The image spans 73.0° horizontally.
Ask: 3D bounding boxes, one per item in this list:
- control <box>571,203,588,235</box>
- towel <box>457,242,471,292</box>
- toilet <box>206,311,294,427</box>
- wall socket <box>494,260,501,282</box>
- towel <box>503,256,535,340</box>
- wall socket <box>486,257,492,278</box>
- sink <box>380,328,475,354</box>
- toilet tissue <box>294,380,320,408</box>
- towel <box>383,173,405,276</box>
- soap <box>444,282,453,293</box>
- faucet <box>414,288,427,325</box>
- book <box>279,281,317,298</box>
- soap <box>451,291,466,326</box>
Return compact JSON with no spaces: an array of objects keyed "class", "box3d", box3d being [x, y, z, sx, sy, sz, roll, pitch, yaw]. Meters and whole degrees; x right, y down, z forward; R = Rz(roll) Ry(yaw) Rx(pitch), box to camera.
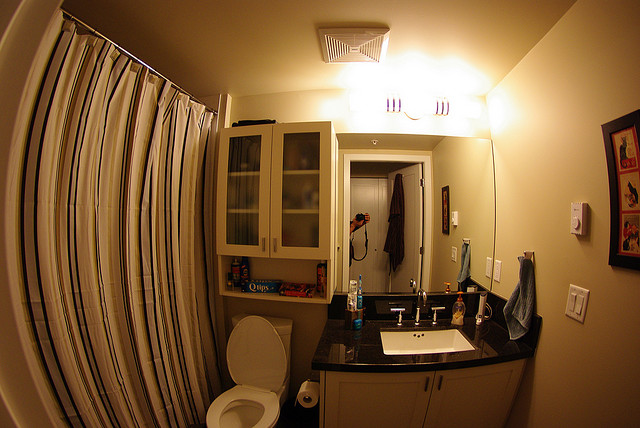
[{"class":"control","box3d":[1.573,0.025,2.622,0.085,0.188,0.029,0,0,32]},{"class":"towel","box3d":[1.086,0.387,3.245,0.097,0.357,0.030,0,0,-8]},{"class":"toilet","box3d":[-0.442,1.109,3.251,0.481,0.848,0.735,1,0,12]},{"class":"wall socket","box3d":[1.291,0.408,3.144,0.019,0.147,0.050,1,0,-20]},{"class":"towel","box3d":[1.338,0.562,2.905,0.186,0.557,0.099,0,0,30]},{"class":"wall socket","box3d":[1.253,0.386,3.200,0.039,0.138,0.012,0,0,24]},{"class":"sink","box3d":[0.733,0.880,3.029,0.614,0.154,0.181,0,0,9]},{"class":"toilet tissue","box3d":[-0.078,1.226,2.973,0.145,0.100,0.092,1,0,-2]},{"class":"towel","box3d":[0.558,0.054,3.222,0.149,0.714,0.025,1,0,-12]},{"class":"soap","box3d":[0.977,0.551,3.288,0.060,0.087,0.067,-1,0,2]},{"class":"faucet","box3d":[0.737,0.667,3.174,0.059,0.246,0.145,0,0,35]},{"class":"book","box3d":[-0.154,0.550,3.154,0.258,0.058,0.156,0,0,13]},{"class":"soap","box3d":[1.020,0.680,3.176,0.098,0.228,0.157,0,0,19]}]
